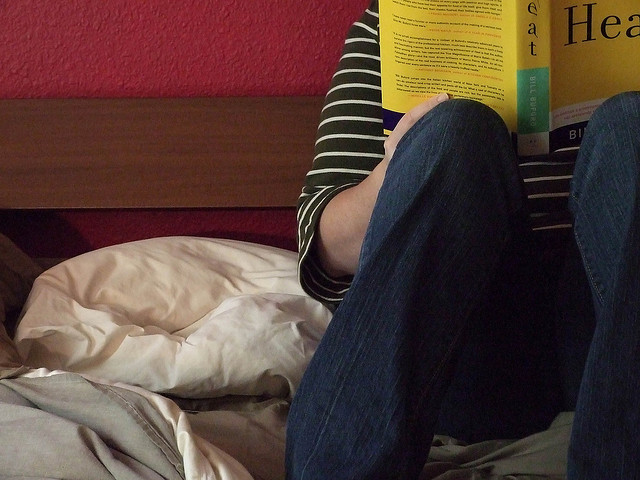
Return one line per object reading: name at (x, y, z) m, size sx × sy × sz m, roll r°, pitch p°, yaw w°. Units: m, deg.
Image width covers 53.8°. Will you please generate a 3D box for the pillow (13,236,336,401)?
pillow at (-0.224, 0.129, 1.182) m, size 0.446 × 0.115 × 0.472 m, roll 34°, pitch 27°, yaw 13°
